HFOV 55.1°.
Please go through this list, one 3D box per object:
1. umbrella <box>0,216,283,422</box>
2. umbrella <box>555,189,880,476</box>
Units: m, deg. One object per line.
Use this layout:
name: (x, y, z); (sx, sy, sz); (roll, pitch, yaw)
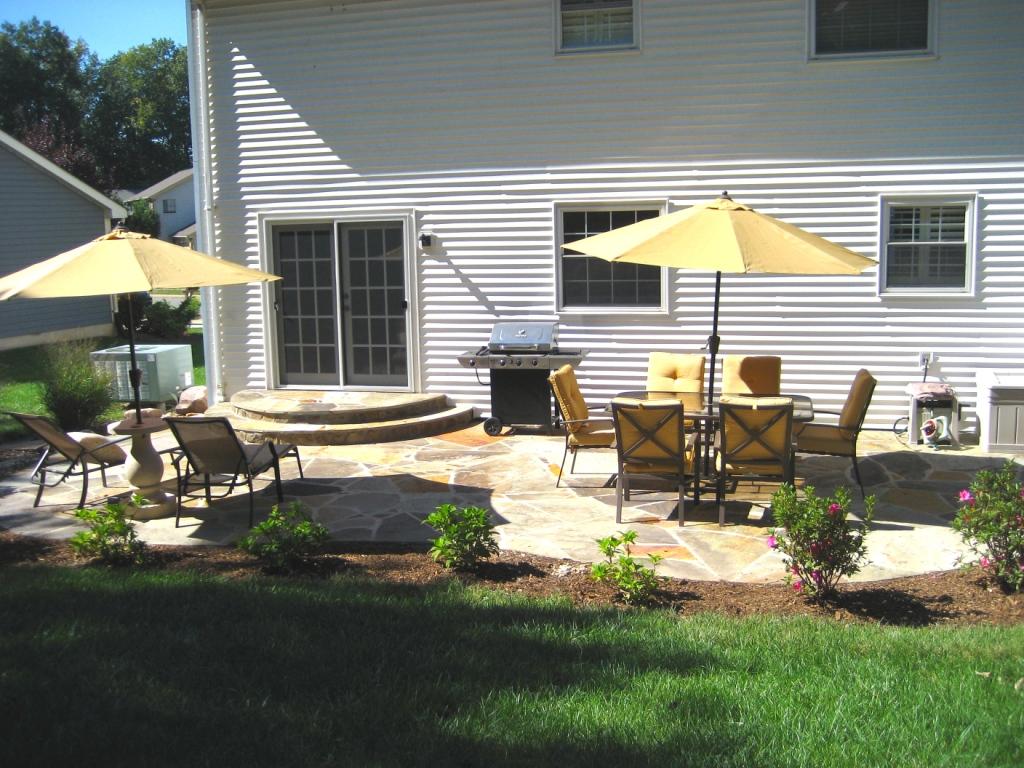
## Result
umbrella: (-3.539, -0.417, 9.622); (2.277, 1.360, 2.189); (-13, 19, -27)
umbrella: (2.024, -0.631, 9.773); (2.627, 1.766, 2.659); (4, 12, 24)
